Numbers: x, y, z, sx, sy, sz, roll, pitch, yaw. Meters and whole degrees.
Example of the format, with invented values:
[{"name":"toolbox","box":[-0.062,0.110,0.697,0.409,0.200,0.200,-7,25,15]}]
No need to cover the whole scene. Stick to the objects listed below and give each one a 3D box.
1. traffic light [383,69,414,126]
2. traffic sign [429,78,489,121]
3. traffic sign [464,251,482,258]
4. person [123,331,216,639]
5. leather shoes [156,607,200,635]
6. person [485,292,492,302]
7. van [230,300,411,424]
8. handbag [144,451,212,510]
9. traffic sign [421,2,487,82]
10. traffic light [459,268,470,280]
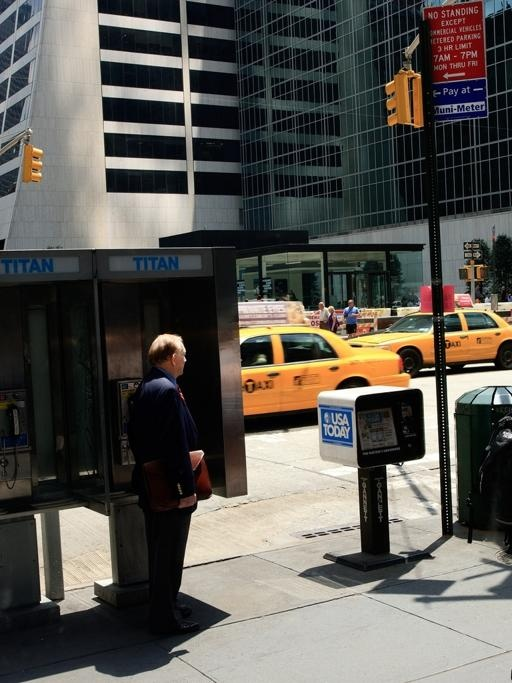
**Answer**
[{"name":"traffic light","box":[1.595,-2.770,7.883,0.277,0.577,0.318,0,11,30]},{"name":"traffic sign","box":[1.583,-1.914,5.389,0.009,0.397,0.546,-14,18,-18]},{"name":"traffic sign","box":[9.505,-3.834,30.500,0.336,0.264,0.836,-2,-3,-30]},{"name":"person","box":[-0.477,0.753,3.671,0.409,1.586,0.467,-3,-2,2]},{"name":"leather shoes","box":[-0.405,1.516,3.733,0.269,0.115,0.094,-4,6,-19]},{"name":"person","box":[16.183,-3.091,48.659,0.294,0.446,0.749,-5,-3,27]},{"name":"van","box":[0.885,0.314,12.435,4.038,1.423,1.757,-1,-3,-27]},{"name":"handbag","box":[-0.399,0.720,3.621,0.329,0.256,0.109,-9,-19,-30]},{"name":"traffic sign","box":[1.504,-2.274,5.301,0.637,0.899,0.045,-2,-3,-5]},{"name":"traffic light","box":[9.336,-3.072,31.064,0.377,0.444,1.426,-5,-3,30]}]
